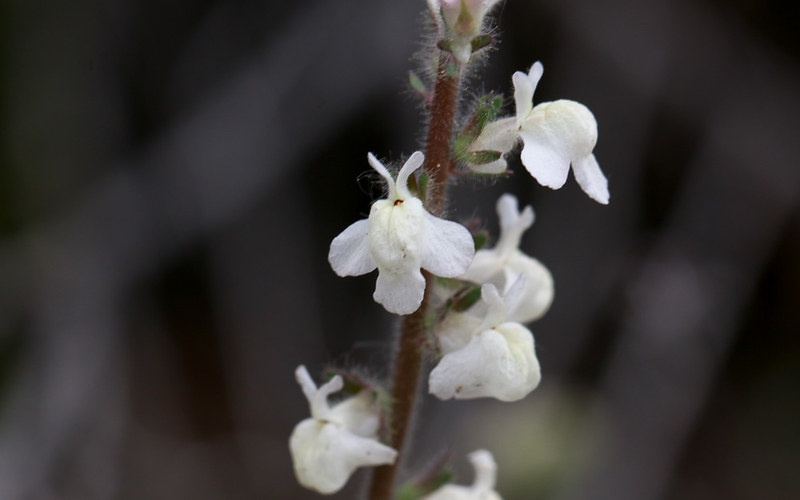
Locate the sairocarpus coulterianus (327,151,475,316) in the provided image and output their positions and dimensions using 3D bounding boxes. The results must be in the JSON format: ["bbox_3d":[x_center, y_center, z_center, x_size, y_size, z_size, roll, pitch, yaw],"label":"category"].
[{"bbox_3d":[-0.003,-0.024,3.303,0.505,0.706,0.236,-3,4,3],"label":"sairocarpus coulterianus"}]

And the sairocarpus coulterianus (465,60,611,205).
[{"bbox_3d":[0.623,-0.470,3.449,0.554,0.505,0.397,11,66,30],"label":"sairocarpus coulterianus"}]

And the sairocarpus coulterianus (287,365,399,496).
[{"bbox_3d":[-0.248,0.729,3.495,0.434,0.430,0.319,-4,26,-13],"label":"sairocarpus coulterianus"}]

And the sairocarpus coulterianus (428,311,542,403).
[{"bbox_3d":[0.366,0.479,3.390,0.367,0.313,0.196,-19,-7,-7],"label":"sairocarpus coulterianus"}]
